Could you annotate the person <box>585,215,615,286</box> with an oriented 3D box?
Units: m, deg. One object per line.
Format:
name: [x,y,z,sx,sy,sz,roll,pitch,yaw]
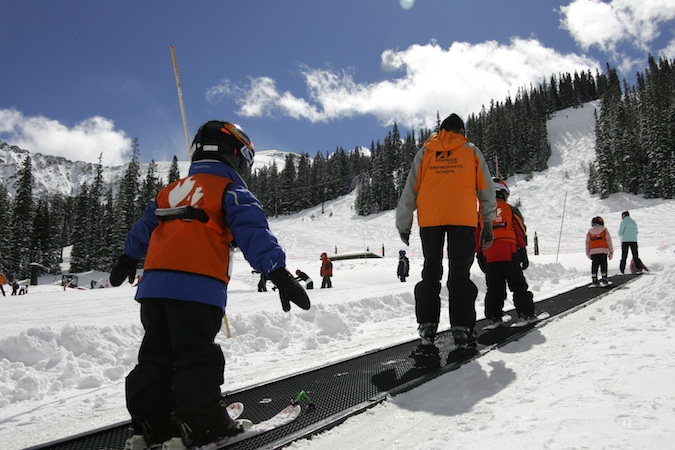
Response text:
person: [6.027,0.621,11.423,0.506,1.604,1.374,-2,8,26]

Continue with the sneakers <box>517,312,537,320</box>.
sneakers: [2.918,1.404,7.604,0.336,0.125,0.103,-7,7,-14]

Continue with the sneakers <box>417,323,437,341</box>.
sneakers: [1.142,1.418,6.474,0.191,0.240,0.248,7,-26,-2]

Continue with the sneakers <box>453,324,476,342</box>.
sneakers: [1.645,1.419,6.551,0.203,0.197,0.252,-1,1,3]

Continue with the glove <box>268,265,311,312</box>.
glove: [-0.531,0.682,5.248,0.320,0.544,0.179,-38,-5,-10]

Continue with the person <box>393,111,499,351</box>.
person: [1.473,0.107,6.645,1.316,3.134,0.967,-6,7,-3]

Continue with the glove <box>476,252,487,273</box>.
glove: [2.349,0.610,8.138,0.126,0.351,0.261,-4,-11,6]

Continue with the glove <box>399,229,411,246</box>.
glove: [0.939,0.172,6.900,0.102,0.295,0.113,-17,6,-23]
